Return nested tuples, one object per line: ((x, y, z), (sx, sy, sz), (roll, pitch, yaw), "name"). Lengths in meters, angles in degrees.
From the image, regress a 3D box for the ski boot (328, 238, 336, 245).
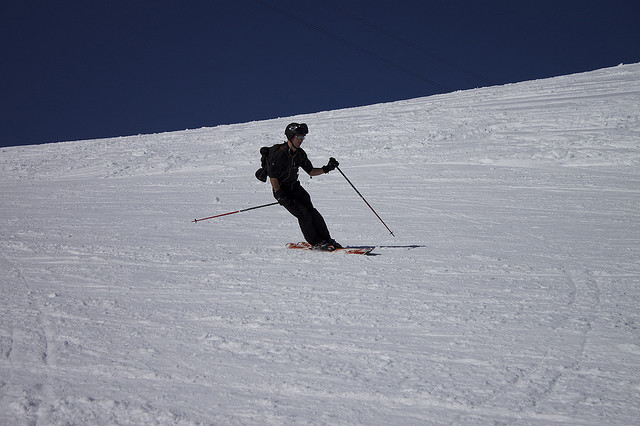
((0.193, 0.495, 8.501), (0.139, 0.051, 0.162), (1, 5, -6), "ski boot")
